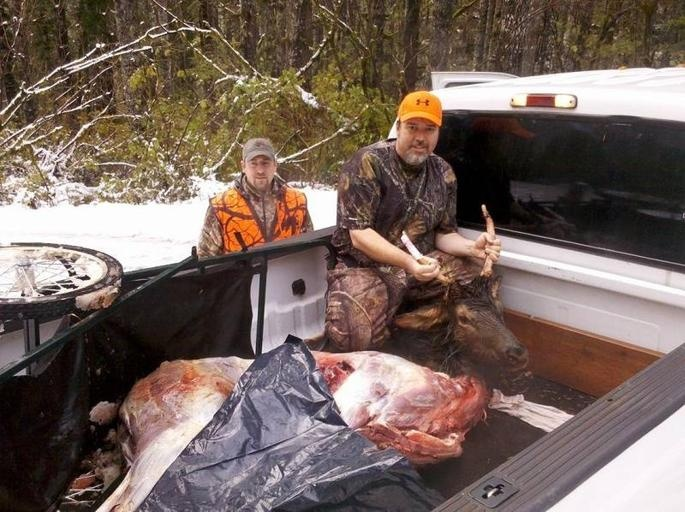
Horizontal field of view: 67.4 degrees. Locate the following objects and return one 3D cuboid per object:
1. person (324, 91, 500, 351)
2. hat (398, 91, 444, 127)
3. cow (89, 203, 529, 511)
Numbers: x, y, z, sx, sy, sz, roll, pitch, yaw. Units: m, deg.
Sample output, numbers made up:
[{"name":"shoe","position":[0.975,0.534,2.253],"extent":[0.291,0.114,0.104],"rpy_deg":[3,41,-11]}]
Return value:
[{"name":"person","position":[0.477,-0.066,3.734],"extent":[1.304,2.069,1.092],"rpy_deg":[-6,15,-22]},{"name":"hat","position":[0.559,-1.042,3.629],"extent":[0.308,0.236,0.422],"rpy_deg":[6,12,7]},{"name":"cow","position":[-0.207,0.513,2.550],"extent":[0.834,0.343,1.406],"rpy_deg":[21,30,39]}]
